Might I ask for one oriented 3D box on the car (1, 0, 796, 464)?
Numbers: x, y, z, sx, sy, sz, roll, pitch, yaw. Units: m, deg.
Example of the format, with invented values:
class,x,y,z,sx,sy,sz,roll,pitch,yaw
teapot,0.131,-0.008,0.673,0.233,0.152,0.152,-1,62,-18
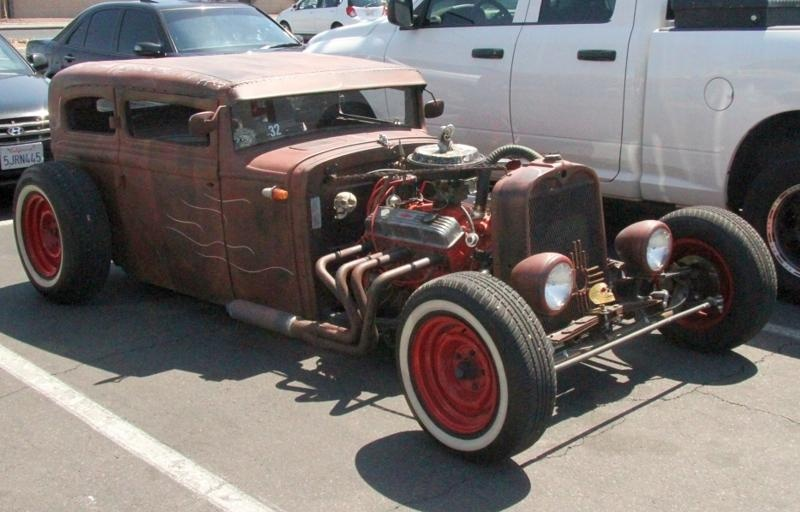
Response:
class,x,y,z,sx,sy,sz,roll,pitch,yaw
car,-0.847,-0.255,5.596,6.001,2.137,3.290,14,25,40
